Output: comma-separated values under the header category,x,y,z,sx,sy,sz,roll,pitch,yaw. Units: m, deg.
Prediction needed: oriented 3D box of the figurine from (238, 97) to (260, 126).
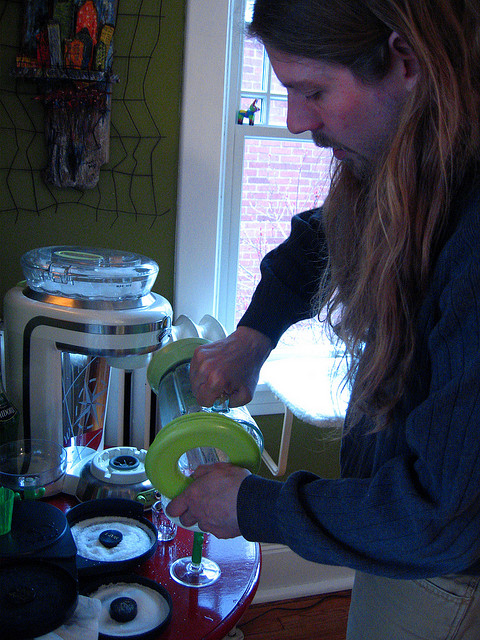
category,x,y,z,sx,sy,sz,roll,pitch,yaw
figurine,0.030,-0.609,1.674,0.028,0.084,0.089,8,13,38

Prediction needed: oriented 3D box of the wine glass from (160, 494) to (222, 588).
category,x,y,z,sx,sy,sz,roll,pitch,yaw
wine glass,-0.069,0.356,0.969,0.094,0.167,0.104,6,10,3

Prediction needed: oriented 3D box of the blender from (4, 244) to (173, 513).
category,x,y,z,sx,sy,sz,roll,pitch,yaw
blender,-0.291,0.134,1.186,0.263,0.544,0.328,-4,15,-31
